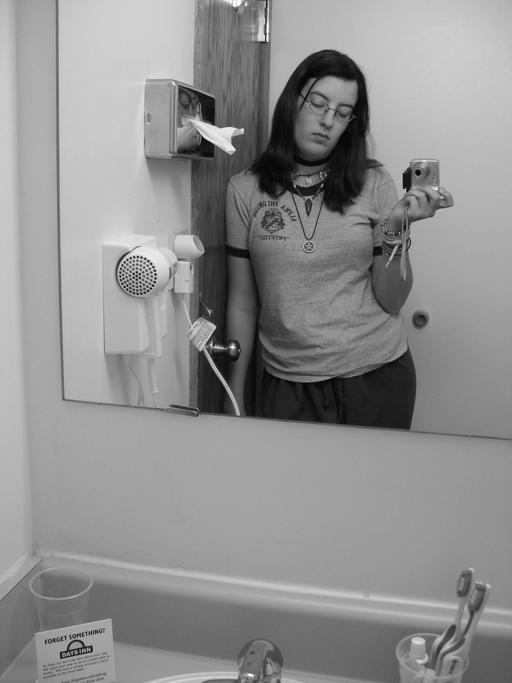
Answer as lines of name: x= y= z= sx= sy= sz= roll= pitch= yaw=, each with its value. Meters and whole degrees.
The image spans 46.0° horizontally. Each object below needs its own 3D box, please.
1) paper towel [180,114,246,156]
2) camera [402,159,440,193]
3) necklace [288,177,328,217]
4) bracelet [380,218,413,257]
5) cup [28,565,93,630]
paper towel: x=-0.051 y=-0.273 z=0.793 sx=0.054 sy=0.051 sz=0.019 roll=23 pitch=50 yaw=9
camera: x=0.206 y=-0.208 z=0.754 sx=0.046 sy=0.050 sz=0.030 roll=7 pitch=24 yaw=26
necklace: x=0.071 y=-0.189 z=0.783 sx=0.040 sy=0.054 sz=0.005 roll=1 pitch=-9 yaw=2
bracelet: x=0.178 y=-0.138 z=0.787 sx=0.038 sy=0.044 sz=0.037 roll=-13 pitch=20 yaw=1
cup: x=-0.266 y=0.358 z=0.836 sx=0.080 sy=0.077 sz=0.086 roll=2 pitch=11 yaw=0
